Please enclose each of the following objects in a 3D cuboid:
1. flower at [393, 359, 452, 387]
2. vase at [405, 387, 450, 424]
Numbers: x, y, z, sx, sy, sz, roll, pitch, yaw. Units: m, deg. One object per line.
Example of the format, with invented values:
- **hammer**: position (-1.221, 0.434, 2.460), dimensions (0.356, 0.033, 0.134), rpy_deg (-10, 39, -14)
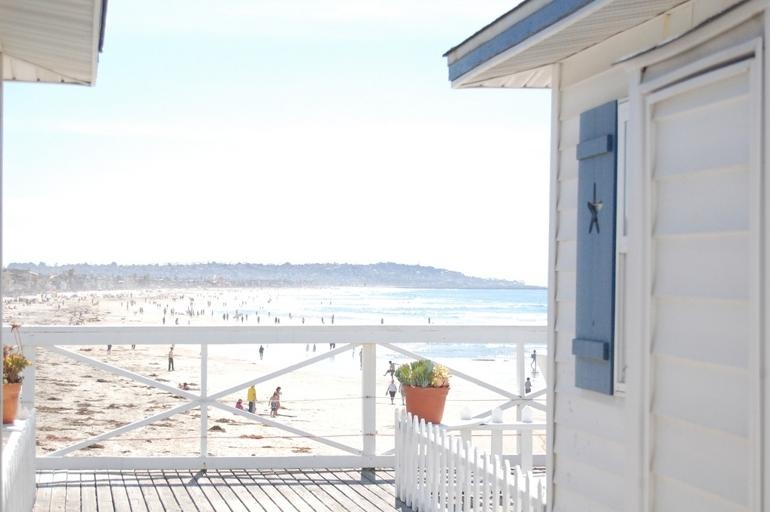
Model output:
- **flower**: position (0.294, 0.890, 6.525), dimensions (0.412, 0.209, 0.275), rpy_deg (5, -3, 1)
- **vase**: position (0.318, 1.133, 6.544), dimensions (0.351, 0.278, 0.357), rpy_deg (4, -5, -38)
